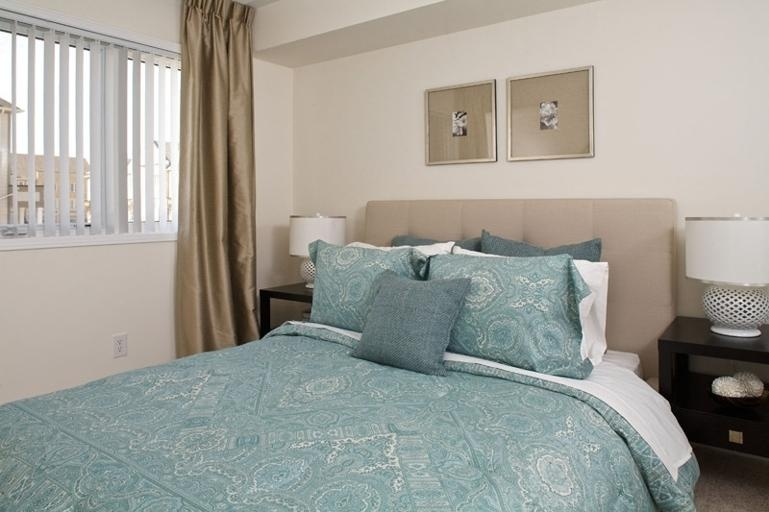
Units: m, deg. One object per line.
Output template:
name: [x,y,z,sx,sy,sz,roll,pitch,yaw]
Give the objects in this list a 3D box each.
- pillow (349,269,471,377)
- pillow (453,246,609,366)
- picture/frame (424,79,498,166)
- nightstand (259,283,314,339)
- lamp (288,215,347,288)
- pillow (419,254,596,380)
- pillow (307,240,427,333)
pillow: [0.116,0.313,2.477,0.529,0.482,0.164,7,-18,34]
pillow: [0.741,0.277,2.548,0.552,0.432,0.197,5,-5,41]
picture/frame: [0.588,-0.989,3.674,0.693,0.699,0.029,0,0,34]
nightstand: [-0.806,0.381,3.940,0.446,0.460,0.447,1,1,41]
lamp: [-0.459,-0.044,4.047,0.533,0.633,0.532,2,2,14]
pillow: [0.618,0.323,2.504,0.596,0.388,0.211,3,-2,29]
pillow: [-0.095,0.183,2.841,0.544,0.369,0.192,-1,-34,42]
